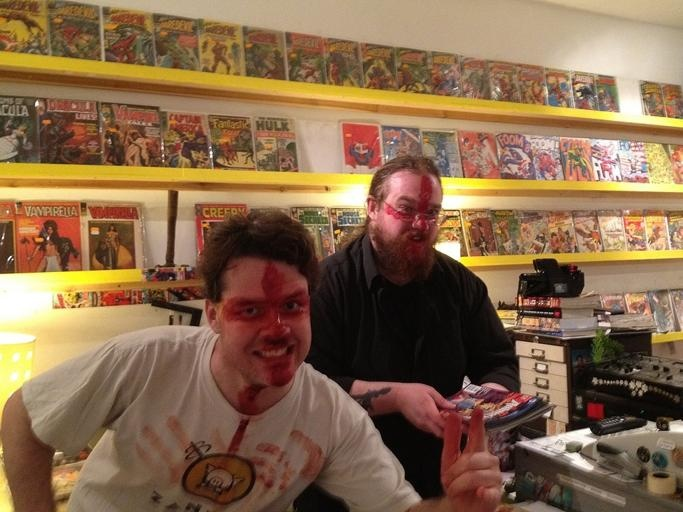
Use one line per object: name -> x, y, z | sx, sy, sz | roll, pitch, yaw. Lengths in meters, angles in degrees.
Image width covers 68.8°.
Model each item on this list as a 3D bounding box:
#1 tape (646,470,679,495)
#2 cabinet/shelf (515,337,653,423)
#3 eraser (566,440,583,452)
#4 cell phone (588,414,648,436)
tape -> 1.201, 0.858, 1.885 | 0.107, 0.062, 0.078 | -1, -3, -25
cabinet/shelf -> 1.539, 0.789, 3.168 | 0.800, 0.517, 0.413 | -8, 18, 2
eraser -> 0.969, 0.795, 2.085 | 0.075, 0.036, 0.035 | -1, -3, -10
cell phone -> 1.220, 0.751, 2.233 | 0.195, 0.039, 0.101 | 2, -3, -24
